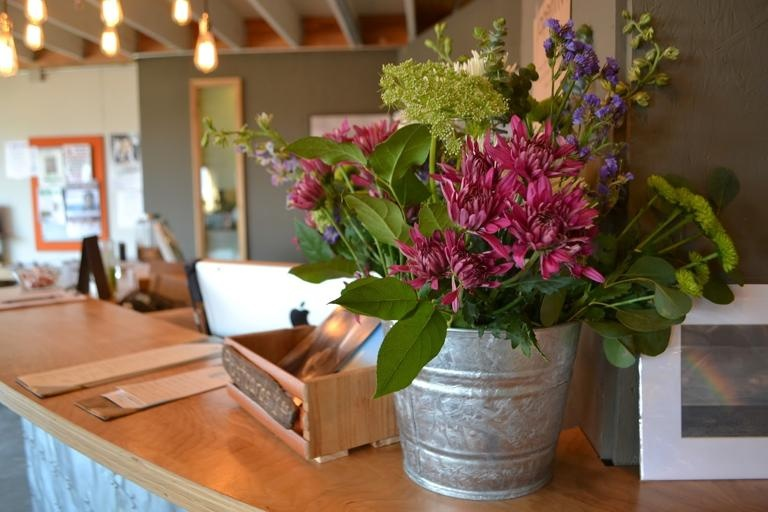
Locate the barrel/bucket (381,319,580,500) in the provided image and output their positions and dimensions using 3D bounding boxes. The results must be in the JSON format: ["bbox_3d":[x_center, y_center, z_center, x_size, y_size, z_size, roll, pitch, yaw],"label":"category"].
[{"bbox_3d":[0.179,0.256,1.110,0.381,0.292,0.357,-1,6,0],"label":"barrel/bucket"}]

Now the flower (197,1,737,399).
[{"bbox_3d":[0.188,-0.125,1.035,0.864,0.633,0.458,-3,13,-15],"label":"flower"}]

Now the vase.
[{"bbox_3d":[0.164,0.241,1.074,0.314,0.238,0.302,1,-1,36],"label":"vase"}]
